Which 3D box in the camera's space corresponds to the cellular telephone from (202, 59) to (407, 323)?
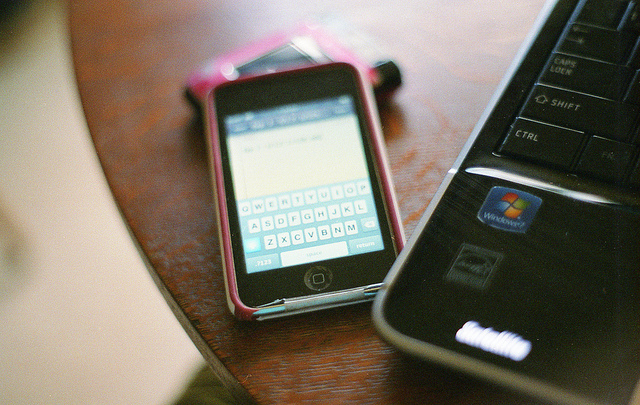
[{"bbox_3d":[-0.018,-0.023,0.566,0.181,0.106,0.248,-9,52,-4],"label":"cellular telephone"}]
